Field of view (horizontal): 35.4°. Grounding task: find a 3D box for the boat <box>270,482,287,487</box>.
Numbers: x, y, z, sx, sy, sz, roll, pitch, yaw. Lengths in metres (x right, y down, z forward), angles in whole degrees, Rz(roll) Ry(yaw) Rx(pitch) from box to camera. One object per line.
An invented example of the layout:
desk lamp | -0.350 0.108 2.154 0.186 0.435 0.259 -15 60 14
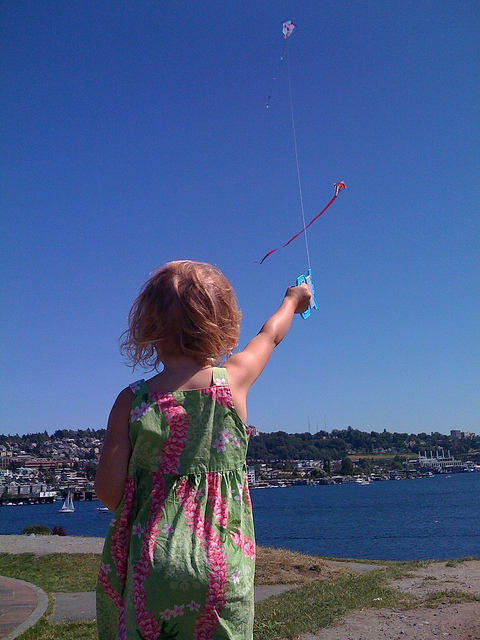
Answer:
boat | 7.843 33.865 154.675 3.667 1.340 1.029 -2 -6 -4

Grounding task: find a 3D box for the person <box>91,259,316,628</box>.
person | -0.113 0.324 2.123 0.584 1.013 0.338 0 -9 -13
